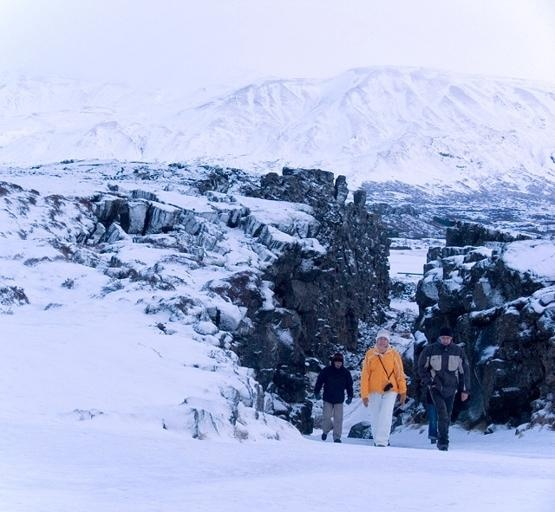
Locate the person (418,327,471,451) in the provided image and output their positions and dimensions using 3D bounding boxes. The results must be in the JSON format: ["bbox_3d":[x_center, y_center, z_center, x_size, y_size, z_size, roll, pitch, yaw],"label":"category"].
[{"bbox_3d":[3.682,3.006,26.729,1.184,1.866,0.574,7,-3,7],"label":"person"}]

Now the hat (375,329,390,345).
[{"bbox_3d":[2.354,1.903,26.746,0.277,0.318,0.347,-1,1,3],"label":"hat"}]

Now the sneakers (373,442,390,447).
[{"bbox_3d":[2.333,4.309,26.767,0.224,0.144,0.269,11,-9,5],"label":"sneakers"}]

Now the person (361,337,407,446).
[{"bbox_3d":[2.347,3.026,26.731,1.050,1.821,0.896,6,-3,12],"label":"person"}]
